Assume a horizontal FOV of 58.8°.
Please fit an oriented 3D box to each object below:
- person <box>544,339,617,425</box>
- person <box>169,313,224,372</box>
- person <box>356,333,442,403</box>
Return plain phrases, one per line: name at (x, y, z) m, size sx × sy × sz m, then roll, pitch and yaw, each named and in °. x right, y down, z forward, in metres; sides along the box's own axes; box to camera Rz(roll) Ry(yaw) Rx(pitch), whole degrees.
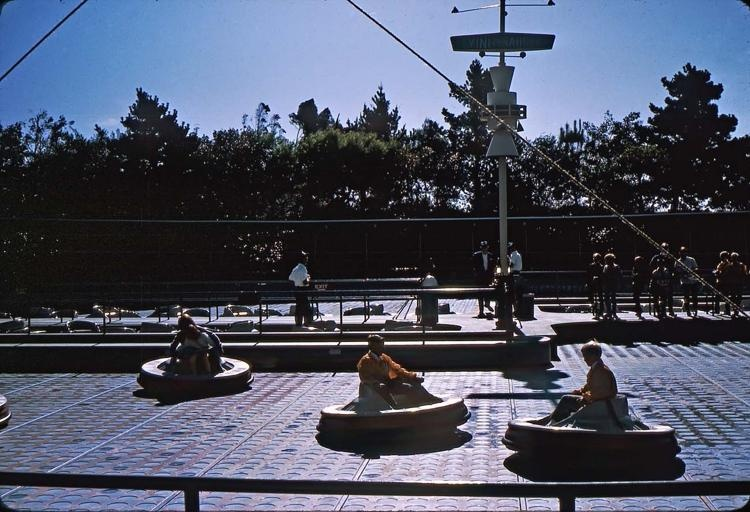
person at (3.218, 1.970, 10.243) m, size 0.925 × 1.315 × 0.453 m, roll 1°, pitch -1°, yaw 24°
person at (-3.902, 1.908, 14.611) m, size 1.111 × 1.298 × 0.656 m, roll 1°, pitch -1°, yaw -17°
person at (0.321, 2.047, 11.419) m, size 1.351 × 1.338 × 1.160 m, roll -8°, pitch 1°, yaw 25°
